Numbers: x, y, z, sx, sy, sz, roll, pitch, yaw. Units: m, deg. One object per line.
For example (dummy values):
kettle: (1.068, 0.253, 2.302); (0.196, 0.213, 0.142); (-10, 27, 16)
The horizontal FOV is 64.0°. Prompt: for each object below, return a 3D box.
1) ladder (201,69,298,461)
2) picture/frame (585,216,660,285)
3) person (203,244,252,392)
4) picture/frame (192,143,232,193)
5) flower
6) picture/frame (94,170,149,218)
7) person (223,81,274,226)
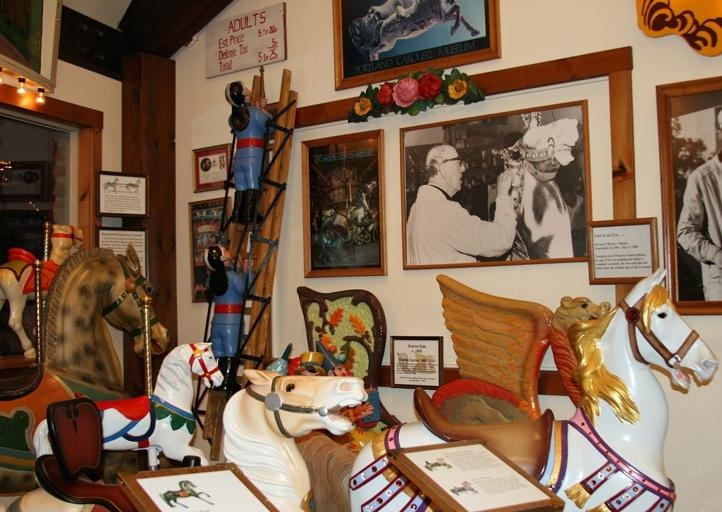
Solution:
ladder: (-0.757, -0.095, 4.431); (0.291, 3.934, 0.481); (10, -8, -36)
picture/frame: (1.626, -0.032, 3.539); (0.344, 0.389, 0.029); (-7, -5, 23)
person: (-0.955, 0.461, 4.227); (0.317, 0.964, 0.226); (-2, 1, -13)
picture/frame: (-1.230, -0.734, 4.834); (0.396, 0.421, 0.031); (4, -3, 28)
flower: (0.376, -1.145, 4.077); (0.864, 0.322, 0.146); (-3, 0, 16)
picture/frame: (-1.941, -0.497, 4.659); (0.362, 0.340, 0.037); (-1, -1, -40)
person: (-0.821, -0.776, 4.324); (0.325, 0.921, 0.175); (-2, 1, -9)
